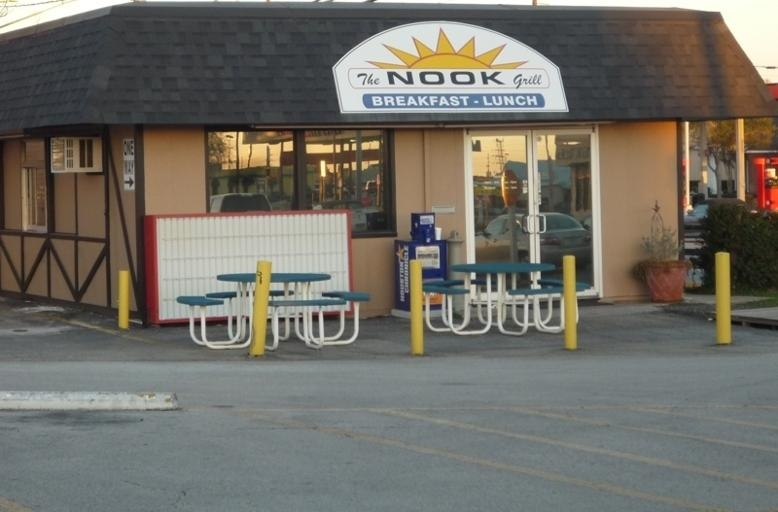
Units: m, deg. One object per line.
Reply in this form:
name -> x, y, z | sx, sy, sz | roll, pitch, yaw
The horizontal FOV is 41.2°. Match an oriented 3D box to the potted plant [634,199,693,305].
potted plant -> 5.379, -0.087, 20.426 | 0.899, 2.101, 1.109 | 1, -2, -23

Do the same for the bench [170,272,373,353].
bench -> -1.889, 0.813, 16.988 | 2.894, 1.456, 3.207 | -2, 11, -9

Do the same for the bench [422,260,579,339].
bench -> 1.836, 0.805, 18.140 | 1.678, 0.645, 1.798 | -1, -1, -2
